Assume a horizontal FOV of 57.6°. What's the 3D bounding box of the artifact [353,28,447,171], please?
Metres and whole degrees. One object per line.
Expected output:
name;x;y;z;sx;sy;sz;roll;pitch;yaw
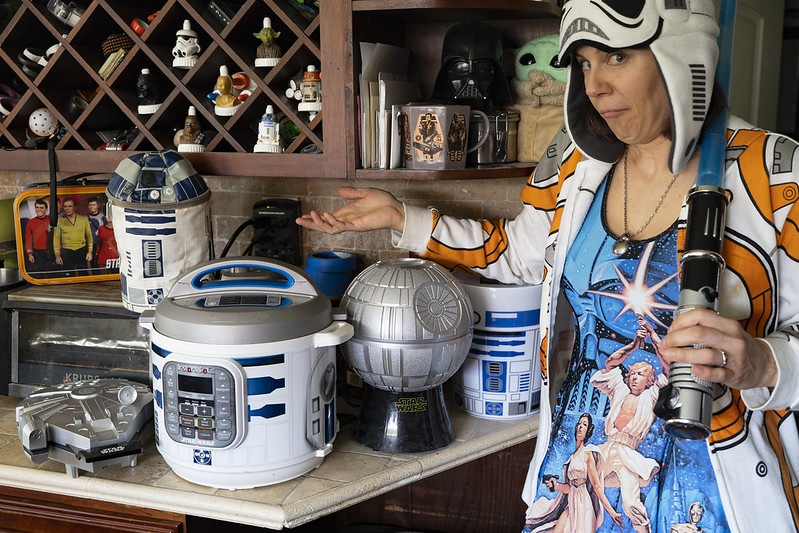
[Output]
artifact;-0.003;-0.426;1.848;0.090;0.307;0.218;5;4;31

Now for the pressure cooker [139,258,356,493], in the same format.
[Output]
pressure cooker;-0.307;0.228;1.726;0.490;0.450;0.471;0;9;-4

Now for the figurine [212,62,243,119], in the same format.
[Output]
figurine;-0.468;-0.470;1.949;0.090;0.133;0.065;-2;6;-1

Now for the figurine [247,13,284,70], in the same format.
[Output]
figurine;-0.347;-0.586;1.902;0.074;0.116;0.072;-4;18;-13

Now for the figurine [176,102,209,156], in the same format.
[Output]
figurine;-0.572;-0.371;1.992;0.079;0.126;0.078;3;7;-1

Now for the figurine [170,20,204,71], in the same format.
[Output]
figurine;-0.569;-0.593;1.925;0.077;0.117;0.070;17;23;40

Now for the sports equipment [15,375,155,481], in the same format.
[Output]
sports equipment;-0.726;0.366;1.680;0.291;0.168;0.394;1;14;-25

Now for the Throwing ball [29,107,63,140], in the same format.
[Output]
Throwing ball;-1.011;-0.405;2.055;0.088;0.100;0.088;1;1;0

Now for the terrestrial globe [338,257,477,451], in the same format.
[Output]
terrestrial globe;0.002;0.197;1.739;0.319;0.423;0.324;3;11;6

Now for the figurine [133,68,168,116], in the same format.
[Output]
figurine;-0.690;-0.488;2.003;0.083;0.113;0.084;6;20;32

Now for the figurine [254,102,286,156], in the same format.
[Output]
figurine;-0.354;-0.362;1.927;0.076;0.132;0.105;-3;6;-11
